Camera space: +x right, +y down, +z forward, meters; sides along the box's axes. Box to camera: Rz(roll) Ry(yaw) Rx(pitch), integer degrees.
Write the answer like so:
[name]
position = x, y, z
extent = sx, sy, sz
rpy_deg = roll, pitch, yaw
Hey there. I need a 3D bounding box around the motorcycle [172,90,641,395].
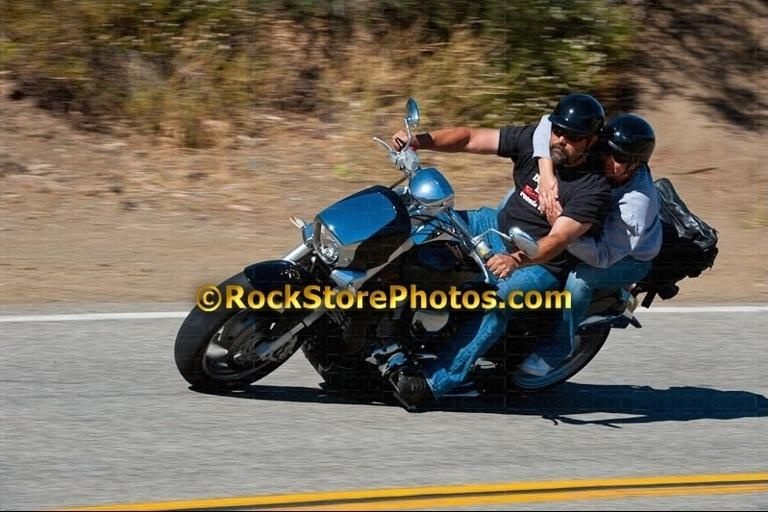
[motorcycle]
position = 0.247, 0.308, 8.338
extent = 4.300, 1.375, 1.553
rpy_deg = 4, 4, -39
